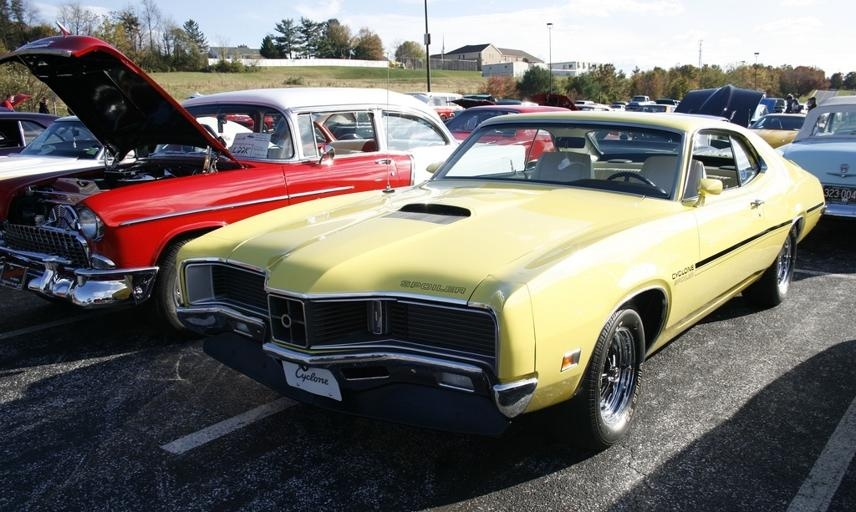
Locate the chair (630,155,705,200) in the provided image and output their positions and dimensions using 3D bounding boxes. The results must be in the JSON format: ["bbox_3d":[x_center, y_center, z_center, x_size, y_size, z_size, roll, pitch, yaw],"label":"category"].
[{"bbox_3d":[2.143,-0.738,4.960,0.496,0.408,0.372,-17,22,-35],"label":"chair"}]

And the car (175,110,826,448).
[{"bbox_3d":[1.376,0.128,5.040,5.354,1.510,2.778,-10,11,-40],"label":"car"}]
